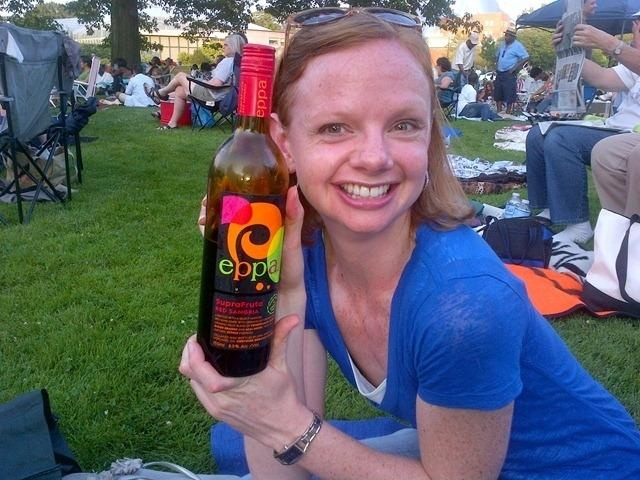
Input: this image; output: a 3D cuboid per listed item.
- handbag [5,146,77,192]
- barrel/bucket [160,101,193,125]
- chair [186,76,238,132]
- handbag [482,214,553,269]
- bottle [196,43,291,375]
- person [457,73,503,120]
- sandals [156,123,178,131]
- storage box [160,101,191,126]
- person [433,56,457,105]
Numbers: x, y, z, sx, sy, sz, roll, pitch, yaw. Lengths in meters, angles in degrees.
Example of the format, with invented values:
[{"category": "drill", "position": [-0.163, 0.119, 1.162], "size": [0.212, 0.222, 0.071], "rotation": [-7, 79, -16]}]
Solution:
[{"category": "handbag", "position": [-3.589, -0.960, 6.702], "size": [0.745, 0.378, 0.773], "rotation": [-6, -16, -13]}, {"category": "barrel/bucket", "position": [-3.298, -2.896, 11.978], "size": [0.588, 0.510, 0.657], "rotation": [-1, 5, -12]}, {"category": "chair", "position": [-2.265, -2.814, 11.269], "size": [1.069, 1.613, 1.137], "rotation": [3, 16, -19]}, {"category": "handbag", "position": [1.799, 0.032, 4.918], "size": [0.412, 0.582, 0.609], "rotation": [0, 20, 2]}, {"category": "bottle", "position": [-0.256, -0.084, 1.769], "size": [0.279, 1.102, 0.248], "rotation": [4, 13, -7]}, {"category": "person", "position": [4.756, -4.262, 15.675], "size": [1.176, 1.688, 1.011], "rotation": [0, 3, 6]}, {"category": "sandals", "position": [-3.397, -2.505, 11.647], "size": [0.500, 0.146, 0.208], "rotation": [5, 10, 21]}, {"category": "storage box", "position": [-3.302, -2.884, 11.970], "size": [0.580, 0.503, 0.630], "rotation": [-1, 5, -8]}, {"category": "person", "position": [3.136, -4.140, 13.709], "size": [0.683, 1.141, 0.822], "rotation": [-10, 21, -22]}]
